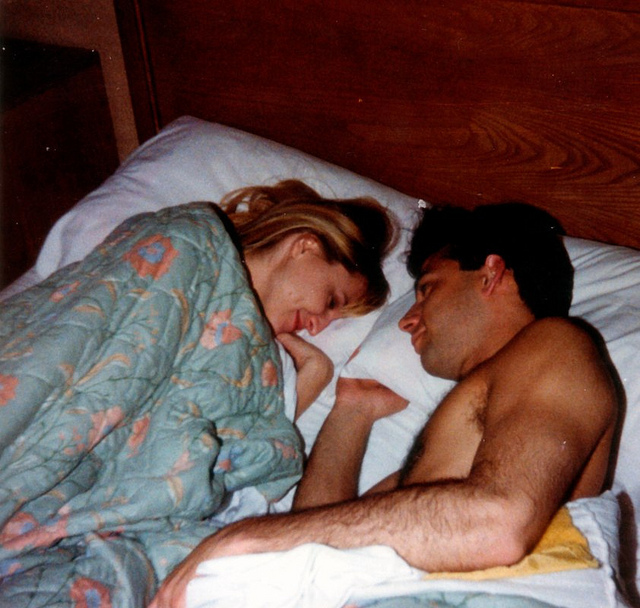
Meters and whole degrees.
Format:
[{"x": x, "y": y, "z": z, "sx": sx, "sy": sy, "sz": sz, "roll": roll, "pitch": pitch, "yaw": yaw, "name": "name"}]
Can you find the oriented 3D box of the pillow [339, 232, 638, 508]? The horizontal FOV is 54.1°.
[{"x": 0.491, "y": 0.080, "z": 1.488, "sx": 0.754, "sy": 0.387, "sz": 0.464, "roll": 26, "pitch": 44, "yaw": 35, "name": "pillow"}]
